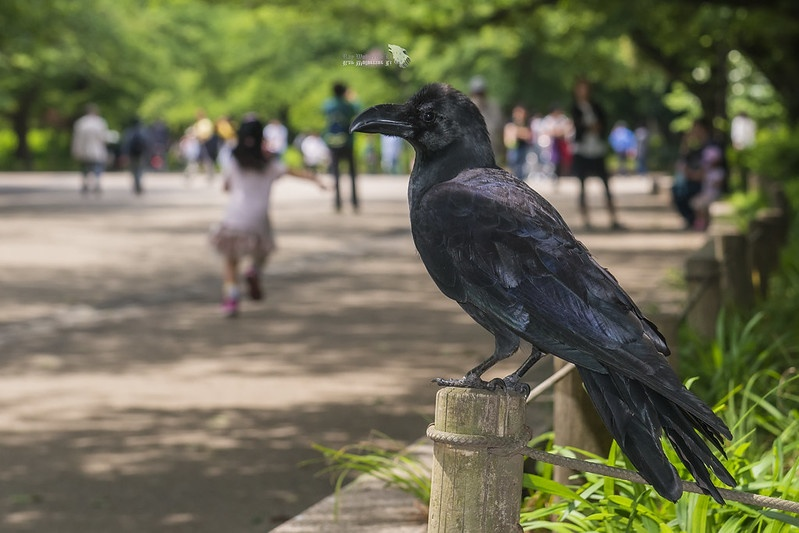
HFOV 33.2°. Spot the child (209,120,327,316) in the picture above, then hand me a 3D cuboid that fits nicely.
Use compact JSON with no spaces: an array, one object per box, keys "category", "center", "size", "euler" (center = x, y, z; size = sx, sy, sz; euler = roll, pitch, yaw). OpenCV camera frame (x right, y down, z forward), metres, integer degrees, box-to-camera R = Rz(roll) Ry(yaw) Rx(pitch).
[{"category":"child","center":[-1.503,-0.472,13.060],"size":[0.520,1.833,0.931],"euler":[-1,8,19]}]

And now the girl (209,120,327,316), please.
[{"category":"girl","center":[-1.501,-0.473,13.065],"size":[0.520,1.833,0.941],"euler":[-1,8,19]}]

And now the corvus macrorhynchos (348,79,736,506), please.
[{"category":"corvus macrorhynchos","center":[0.955,0.130,9.089],"size":[2.171,2.766,0.544],"euler":[-1,8,17]}]
